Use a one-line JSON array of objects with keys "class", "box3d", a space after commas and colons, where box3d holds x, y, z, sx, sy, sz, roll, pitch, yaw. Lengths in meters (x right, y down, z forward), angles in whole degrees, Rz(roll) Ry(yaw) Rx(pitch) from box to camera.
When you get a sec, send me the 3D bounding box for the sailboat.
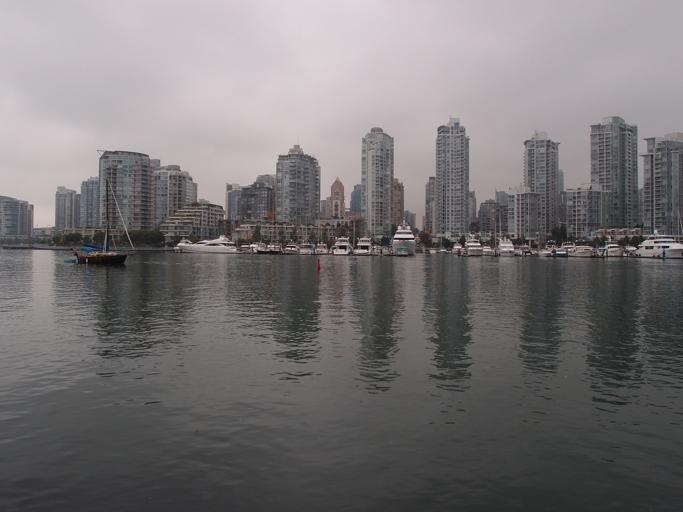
[{"class": "sailboat", "box3d": [-35.097, -4.613, 121.200, 8.807, 11.798, 4.152, -1, 2, 17]}]
